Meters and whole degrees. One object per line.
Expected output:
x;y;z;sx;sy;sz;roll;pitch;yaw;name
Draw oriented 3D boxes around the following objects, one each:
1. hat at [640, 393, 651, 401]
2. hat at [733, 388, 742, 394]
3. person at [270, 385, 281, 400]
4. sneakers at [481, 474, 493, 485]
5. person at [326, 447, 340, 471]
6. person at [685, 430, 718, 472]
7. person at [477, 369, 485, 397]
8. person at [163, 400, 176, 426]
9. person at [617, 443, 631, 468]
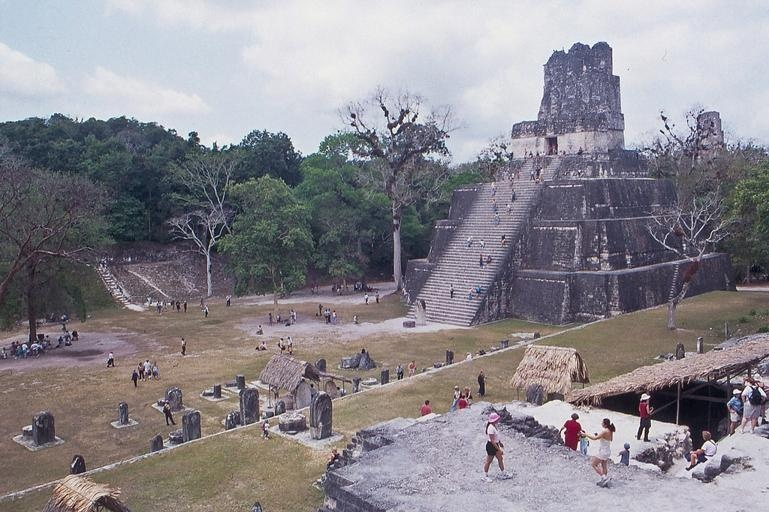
12.415;6.760;38.506;0.525;0.155;0.502;-24;3;-17;hat
17.867;6.886;41.252;0.470;0.122;0.473;-16;-5;40;hat
-6.217;7.787;46.655;0.482;0.980;2.027;-2;1;-7;person
4.539;9.898;35.828;0.226;0.270;0.400;5;-16;-30;sneakers
-2.387;9.861;39.223;0.658;1.005;1.237;-2;1;-9;person
14.538;9.043;37.481;1.309;1.944;0.875;5;5;34;person
5.548;7.237;46.080;0.436;1.291;1.353;-1;1;7;person
-11.763;8.717;44.881;0.604;1.050;1.138;-2;1;-16;person
10.953;9.062;37.165;0.439;0.967;1.888;-1;1;16;person
